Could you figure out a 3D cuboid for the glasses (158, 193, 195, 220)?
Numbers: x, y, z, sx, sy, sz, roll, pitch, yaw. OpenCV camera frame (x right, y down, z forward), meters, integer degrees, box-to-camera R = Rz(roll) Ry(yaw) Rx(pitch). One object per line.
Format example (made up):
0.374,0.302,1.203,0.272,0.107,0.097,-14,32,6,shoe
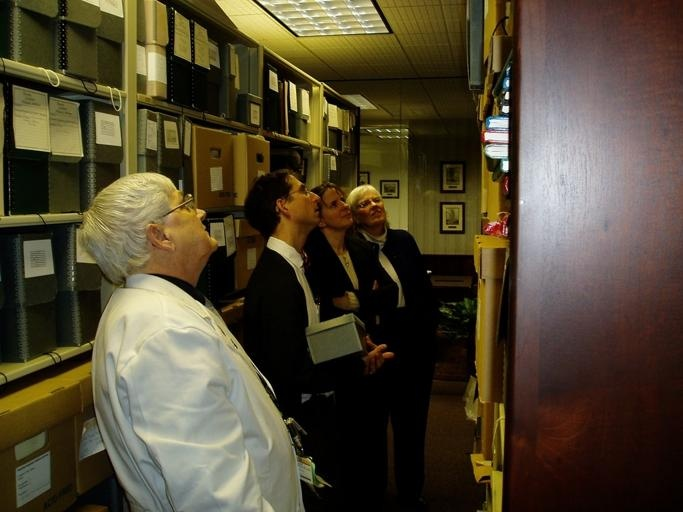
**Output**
-0.453,-0.140,1.578,0.075,0.023,0.073,-35,13,-5,glasses

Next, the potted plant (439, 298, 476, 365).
1.023,0.666,5.030,0.208,0.519,0.487,0,11,-14,potted plant

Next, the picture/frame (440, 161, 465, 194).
1.167,-0.838,5.943,0.317,0.431,0.042,0,0,1,picture/frame
